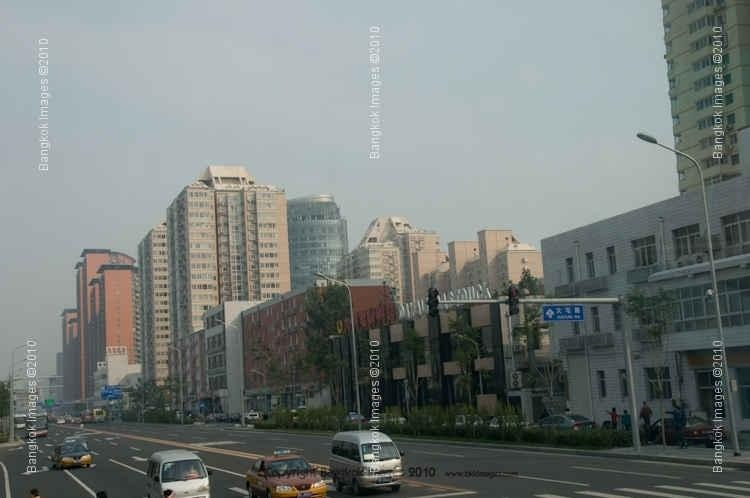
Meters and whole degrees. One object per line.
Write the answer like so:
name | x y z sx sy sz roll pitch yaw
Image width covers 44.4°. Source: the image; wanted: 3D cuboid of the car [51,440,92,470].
car | -25.338 17.474 77.176 2.951 2.154 2.480 1 -15 -15

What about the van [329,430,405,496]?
van | -0.842 14.631 62.745 3.362 3.172 5.003 4 -19 -22
